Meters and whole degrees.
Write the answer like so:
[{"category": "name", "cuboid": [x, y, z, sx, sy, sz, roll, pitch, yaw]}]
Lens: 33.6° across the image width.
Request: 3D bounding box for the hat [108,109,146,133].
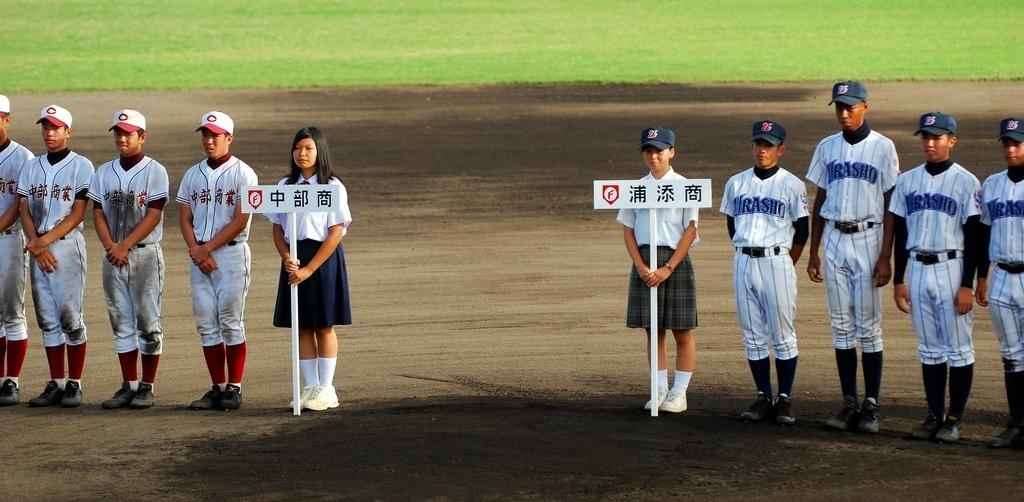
[{"category": "hat", "cuboid": [-8.513, -2.847, 37.259, 0.681, 0.445, 0.376, -4, 6, -25]}]
